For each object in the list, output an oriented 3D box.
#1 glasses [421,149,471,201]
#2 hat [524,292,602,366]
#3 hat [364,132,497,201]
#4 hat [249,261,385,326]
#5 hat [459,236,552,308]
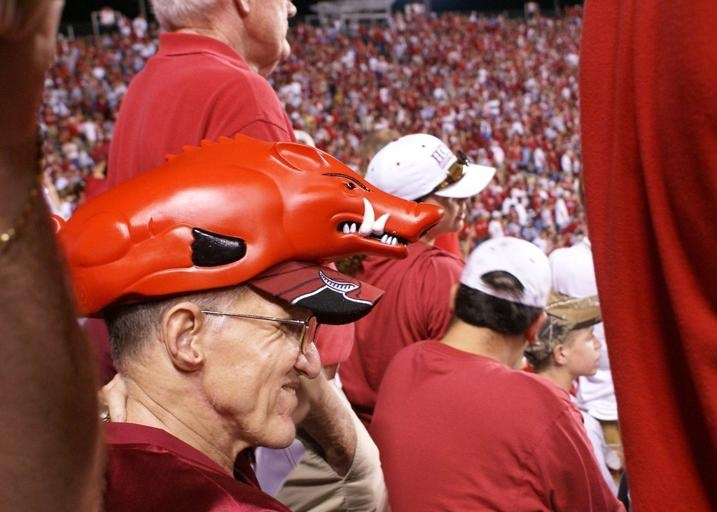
[{"bbox_3d":[0.391,-0.342,4.094,0.060,0.226,0.154,50,17,-10],"label":"glasses"},{"bbox_3d":[0.676,0.238,3.320,0.069,0.239,0.147,43,4,-28],"label":"hat"},{"bbox_3d":[0.289,-0.356,4.076,0.494,0.202,0.338,-2,18,4],"label":"hat"},{"bbox_3d":[-0.069,0.059,1.804,0.299,0.130,0.178,5,3,7],"label":"hat"},{"bbox_3d":[0.430,0.050,2.916,0.181,0.128,0.247,25,2,28],"label":"hat"}]
